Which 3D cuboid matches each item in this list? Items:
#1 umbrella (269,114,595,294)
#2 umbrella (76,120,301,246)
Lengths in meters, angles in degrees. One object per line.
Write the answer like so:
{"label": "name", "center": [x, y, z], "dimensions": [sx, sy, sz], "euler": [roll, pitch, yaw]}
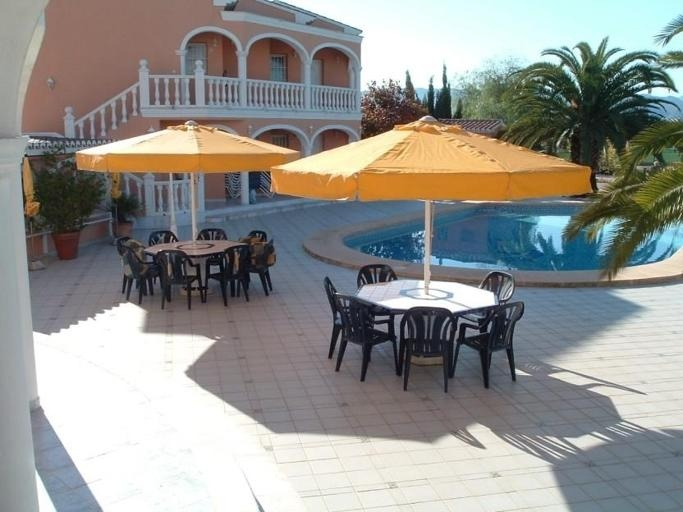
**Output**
{"label": "umbrella", "center": [0.898, -0.723, 6.190], "dimensions": [2.098, 1.129, 1.924], "euler": [-13, 20, -37]}
{"label": "umbrella", "center": [-2.821, -1.330, 9.244], "dimensions": [2.148, 1.196, 2.157], "euler": [11, 18, 39]}
